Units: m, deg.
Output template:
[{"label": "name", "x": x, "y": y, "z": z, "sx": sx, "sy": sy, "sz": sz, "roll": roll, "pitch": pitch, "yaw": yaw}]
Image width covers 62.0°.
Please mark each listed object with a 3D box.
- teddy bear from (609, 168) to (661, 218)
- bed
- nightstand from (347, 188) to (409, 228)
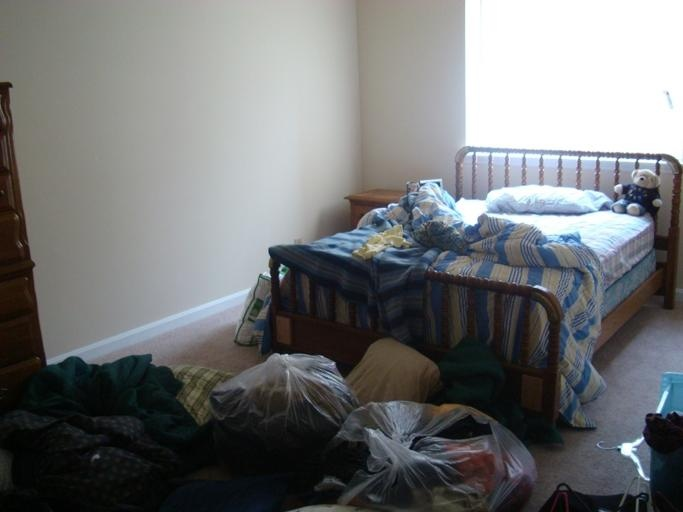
[{"label": "teddy bear", "x": 1.988, "y": -0.438, "z": 3.821, "sx": 0.294, "sy": 0.312, "sz": 0.272, "roll": 26, "pitch": 30, "yaw": 39}, {"label": "bed", "x": 1.049, "y": 0.011, "z": 3.478, "sx": 1.694, "sy": 1.054, "sz": 2.060, "roll": 7, "pitch": 14, "yaw": 37}, {"label": "nightstand", "x": 0.302, "y": -0.457, "z": 4.714, "sx": 0.405, "sy": 0.409, "sz": 0.333, "roll": 8, "pitch": 15, "yaw": 37}]
